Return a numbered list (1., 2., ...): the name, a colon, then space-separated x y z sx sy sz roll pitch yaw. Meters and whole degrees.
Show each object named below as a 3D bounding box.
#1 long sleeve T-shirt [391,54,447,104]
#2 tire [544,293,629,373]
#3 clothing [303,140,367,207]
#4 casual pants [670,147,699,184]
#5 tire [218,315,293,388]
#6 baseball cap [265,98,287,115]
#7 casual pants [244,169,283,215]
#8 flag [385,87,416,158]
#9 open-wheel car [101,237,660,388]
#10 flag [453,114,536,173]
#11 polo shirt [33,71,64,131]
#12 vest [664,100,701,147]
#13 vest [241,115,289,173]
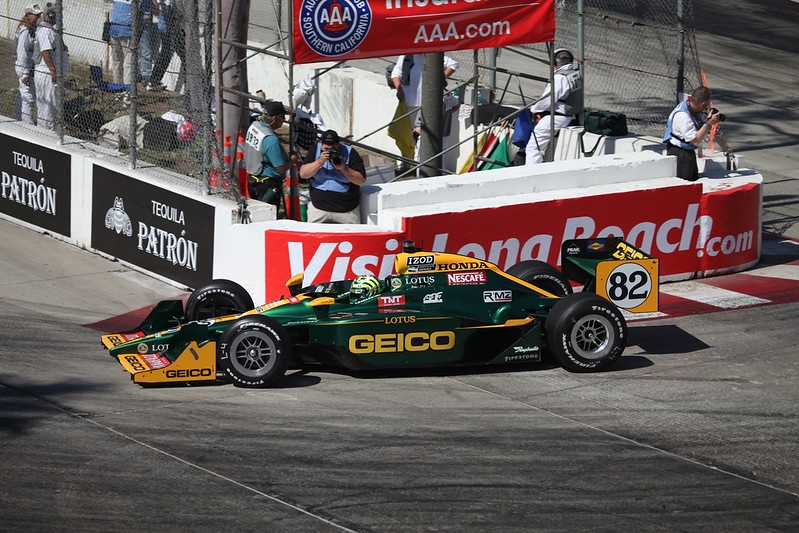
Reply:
1. long sleeve T-shirt: 0.350 -2.984 21.039 0.879 1.231 0.427 -11 23 -19
2. tire: 2.179 0.819 15.339 1.050 0.720 0.369 -5 3 -21
3. clothing: -0.817 -1.165 16.831 1.364 0.965 0.653 0 6 -3
4. casual pants: 3.943 -1.443 18.263 0.493 0.451 0.385 7 12 12
5. tire: -1.534 0.995 14.937 1.080 0.785 0.426 -2 -1 37
6. baseball cap: -1.538 -2.063 17.013 0.295 0.115 0.178 -15 32 -37
7. casual pants: -1.834 -0.922 17.524 0.454 0.534 0.451 3 -10 -8
8. flag: 0.058 -2.211 20.678 0.504 1.267 0.239 14 45 11
9. open-wheel car: -0.171 0.596 15.496 6.412 1.097 2.226 -1 12 -8
10. flag: 1.528 -1.886 20.173 0.341 0.709 1.560 -56 10 -34
11. polo shirt: -5.429 -2.553 20.178 0.429 1.194 0.343 -24 -37 12
12. vest: 3.972 -1.977 18.333 0.482 0.680 0.373 8 13 14
13. vest: -1.702 -1.534 17.183 0.297 0.741 0.706 -7 16 -42
